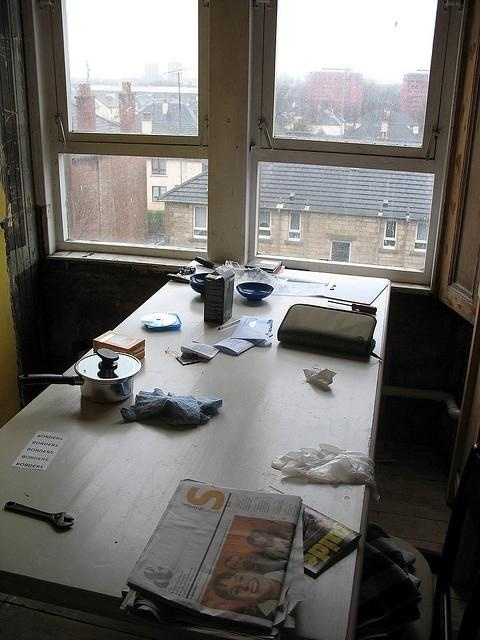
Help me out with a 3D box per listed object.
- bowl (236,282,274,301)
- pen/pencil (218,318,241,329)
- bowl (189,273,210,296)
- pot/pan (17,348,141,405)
[{"bbox_3d":[0.059,-0.128,2.090,0.090,0.034,0.102,6,31,8],"label":"bowl"},{"bbox_3d":[-0.041,0.012,1.767,0.068,0.016,0.011,-24,11,-31],"label":"pen/pencil"},{"bbox_3d":[-0.164,-0.159,2.072,0.083,0.040,0.093,-14,45,-16],"label":"bowl"},{"bbox_3d":[-0.391,0.090,1.205,0.236,0.110,0.148,-3,24,-17],"label":"pot/pan"}]
